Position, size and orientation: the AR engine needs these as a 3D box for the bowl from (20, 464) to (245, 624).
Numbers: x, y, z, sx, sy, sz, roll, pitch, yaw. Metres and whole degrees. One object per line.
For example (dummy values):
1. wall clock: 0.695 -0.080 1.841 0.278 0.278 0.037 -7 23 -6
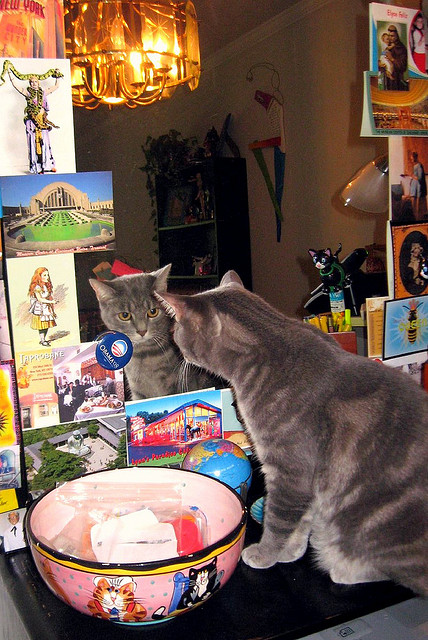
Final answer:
1. bowl: -0.103 0.214 0.609 0.195 0.092 0.200 1 0 0

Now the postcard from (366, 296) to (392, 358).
1. postcard: 0.360 0.011 1.063 0.124 0.149 0.012 -5 7 -35

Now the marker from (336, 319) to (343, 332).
1. marker: 0.270 0.011 1.049 0.005 0.021 0.021 9 -12 -9

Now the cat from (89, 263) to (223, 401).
1. cat: -0.115 0.001 0.987 0.229 0.223 0.227 -8 23 -25
